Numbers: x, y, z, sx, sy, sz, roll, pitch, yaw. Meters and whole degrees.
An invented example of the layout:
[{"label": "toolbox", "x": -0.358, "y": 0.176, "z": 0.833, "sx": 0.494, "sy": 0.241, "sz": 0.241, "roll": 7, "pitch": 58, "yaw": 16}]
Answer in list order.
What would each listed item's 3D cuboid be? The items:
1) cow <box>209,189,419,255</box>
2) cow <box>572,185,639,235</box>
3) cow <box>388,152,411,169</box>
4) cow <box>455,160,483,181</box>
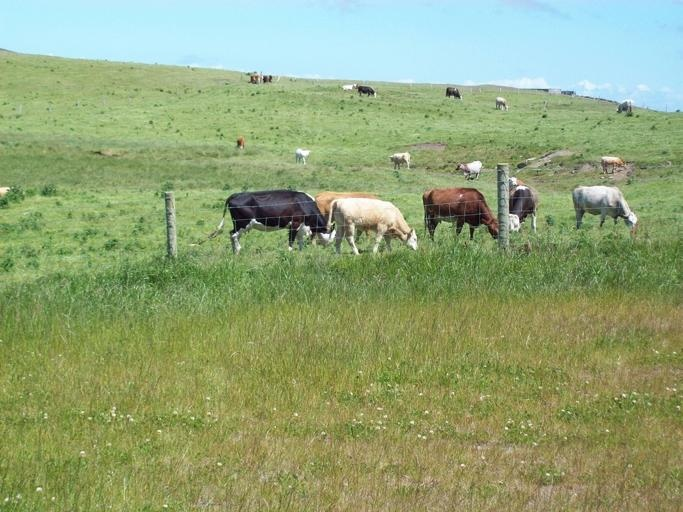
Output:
[{"label": "cow", "x": -0.821, "y": -1.036, "z": 35.126, "sx": 5.486, "sy": 1.833, "sz": 1.704, "roll": 1, "pitch": 9, "yaw": 18}, {"label": "cow", "x": 8.859, "y": -1.613, "z": 39.178, "sx": 1.142, "sy": 1.357, "sz": 2.710, "roll": -6, "pitch": 10, "yaw": -25}, {"label": "cow", "x": 3.155, "y": -5.154, "z": 62.405, "sx": 1.311, "sy": 0.996, "sz": 0.630, "roll": 1, "pitch": 2, "yaw": -3}, {"label": "cow", "x": 6.693, "y": -4.291, "z": 58.199, "sx": 1.753, "sy": 0.984, "sz": 0.641, "roll": 0, "pitch": 3, "yaw": -26}]
